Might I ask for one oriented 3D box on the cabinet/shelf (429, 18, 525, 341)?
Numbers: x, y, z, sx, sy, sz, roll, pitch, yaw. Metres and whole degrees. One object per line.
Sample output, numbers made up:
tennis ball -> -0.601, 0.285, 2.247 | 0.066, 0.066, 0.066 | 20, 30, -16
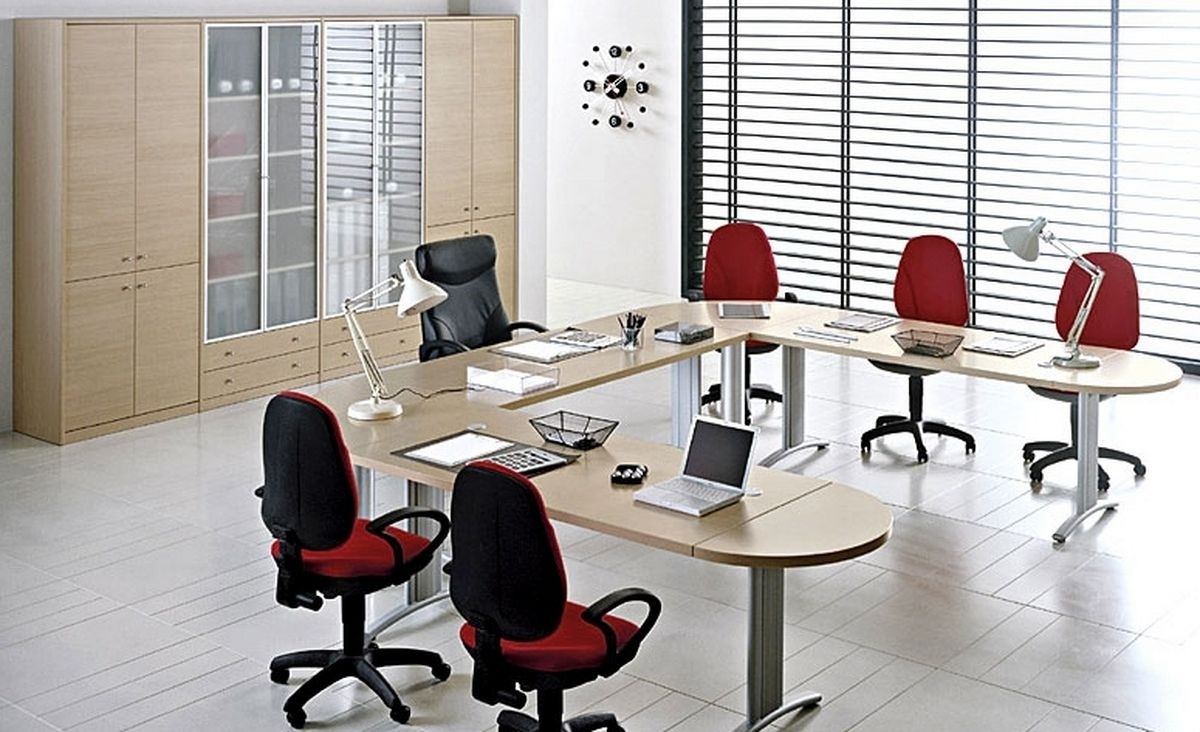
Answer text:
cabinet/shelf -> -1.396, -1.663, 8.776 | 1.023, 3.407, 0.438 | -15, 31, -33

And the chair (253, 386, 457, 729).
chair -> -1.153, 0.838, 3.989 | 0.909, 1.478, 0.667 | -6, 22, -11

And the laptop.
laptop -> 0.471, 0.421, 3.997 | 0.428, 0.287, 0.539 | 8, 14, 42

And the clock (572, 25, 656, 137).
clock -> 0.184, -3.450, 10.629 | 1.707, 1.383, 0.130 | 6, 13, 31

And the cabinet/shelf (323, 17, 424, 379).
cabinet/shelf -> -1.968, -1.747, 7.993 | 1.229, 2.555, 0.328 | 6, 10, 26

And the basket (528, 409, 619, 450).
basket -> -0.121, 0.317, 4.478 | 0.350, 0.088, 0.239 | 7, 13, 35
